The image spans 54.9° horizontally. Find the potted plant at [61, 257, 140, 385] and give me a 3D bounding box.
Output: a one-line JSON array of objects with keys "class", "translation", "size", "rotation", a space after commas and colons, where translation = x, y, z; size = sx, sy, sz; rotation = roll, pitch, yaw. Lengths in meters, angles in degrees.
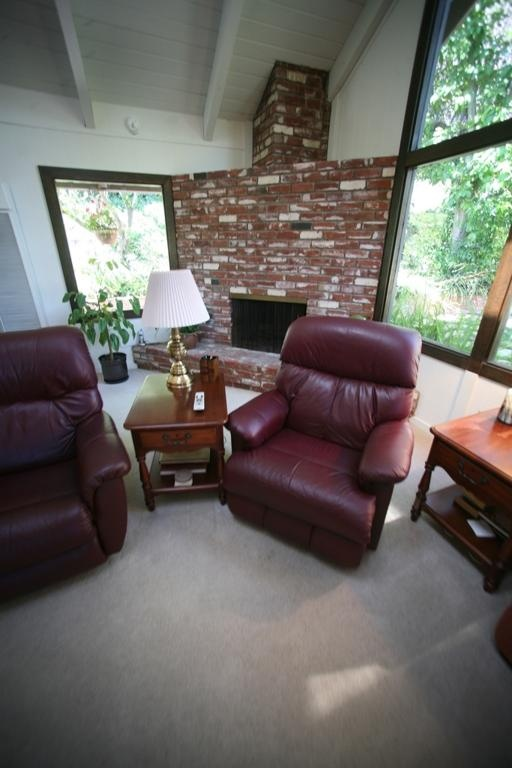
[{"class": "potted plant", "translation": [-1.212, -0.408, 3.943], "size": [0.394, 0.765, 0.452], "rotation": [-17, 27, -26]}]

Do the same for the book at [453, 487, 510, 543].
[{"class": "book", "translation": [0.997, 0.579, 2.205], "size": [0.049, 0.168, 0.166], "rotation": [-32, 56, -7]}]

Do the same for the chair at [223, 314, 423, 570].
[{"class": "chair", "translation": [0.304, 0.212, 2.349], "size": [0.785, 0.885, 0.963], "rotation": [7, 27, 13]}]

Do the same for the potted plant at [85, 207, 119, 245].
[{"class": "potted plant", "translation": [-1.218, -1.247, 3.891], "size": [0.247, 0.274, 0.135], "rotation": [-9, 21, -22]}]

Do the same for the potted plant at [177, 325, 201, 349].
[{"class": "potted plant", "translation": [-0.569, -0.414, 4.197], "size": [0.244, 0.274, 0.236], "rotation": [-3, 11, -6]}]

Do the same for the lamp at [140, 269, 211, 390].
[{"class": "lamp", "translation": [-0.405, -0.262, 2.488], "size": [0.307, 0.631, 0.353], "rotation": [-2, 19, -3]}]

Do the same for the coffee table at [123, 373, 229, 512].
[{"class": "coffee table", "translation": [-0.401, 0.254, 2.586], "size": [0.410, 0.464, 0.707], "rotation": [-3, 25, -5]}]

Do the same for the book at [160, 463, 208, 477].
[{"class": "book", "translation": [-0.377, 0.430, 2.534], "size": [0.114, 0.029, 0.121], "rotation": [-5, 4, -33]}]
